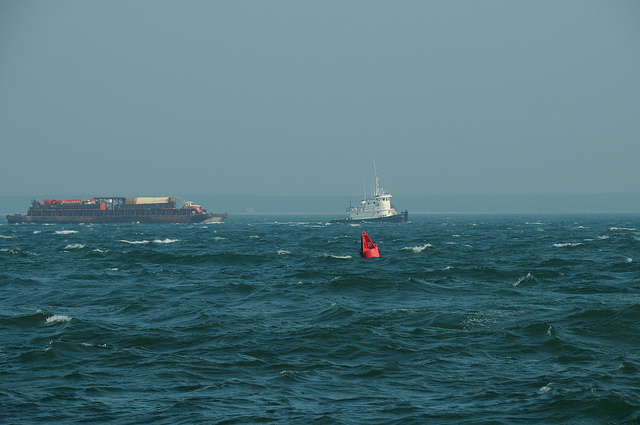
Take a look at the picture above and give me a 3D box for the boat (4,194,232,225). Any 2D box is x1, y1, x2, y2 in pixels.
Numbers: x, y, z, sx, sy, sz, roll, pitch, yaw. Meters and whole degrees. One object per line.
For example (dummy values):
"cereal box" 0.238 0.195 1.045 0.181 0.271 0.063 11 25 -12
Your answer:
"boat" -41.816 -0.309 268.248 61.998 9.616 9.627 0 1 -3

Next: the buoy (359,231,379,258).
"buoy" 4.735 3.225 129.158 1.555 2.204 2.925 -9 -23 21
